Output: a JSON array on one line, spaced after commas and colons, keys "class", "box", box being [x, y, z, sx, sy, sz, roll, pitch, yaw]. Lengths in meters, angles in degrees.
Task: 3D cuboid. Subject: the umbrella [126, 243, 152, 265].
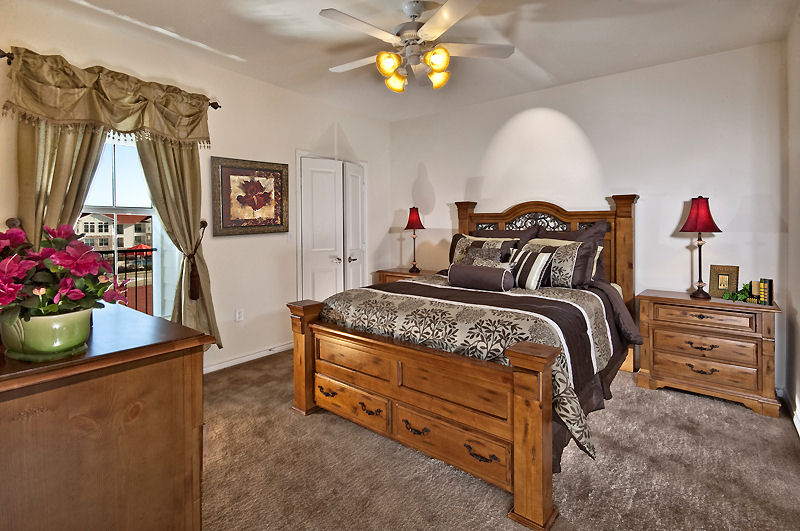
[{"class": "umbrella", "box": [-2.585, -0.112, 4.955, 0.172, 0.147, 0.171, 2, -2, 11]}]

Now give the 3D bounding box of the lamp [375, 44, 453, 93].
[{"class": "lamp", "box": [0.116, -1.751, 4.233, 0.506, 0.144, 0.528, -4, -21, 8]}]

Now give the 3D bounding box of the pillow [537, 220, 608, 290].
[{"class": "pillow", "box": [1.739, -0.077, 4.858, 0.176, 0.608, 0.595, 30, -16, -35]}]

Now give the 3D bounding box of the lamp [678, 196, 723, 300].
[{"class": "lamp", "box": [2.812, -0.178, 4.722, 0.367, 0.957, 0.425, 5, 5, 33]}]

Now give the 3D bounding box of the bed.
[{"class": "bed", "box": [0.787, 0.583, 4.716, 2.495, 2.295, 2.965, 1, 1, 41]}]

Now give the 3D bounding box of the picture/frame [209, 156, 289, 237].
[{"class": "picture/frame", "box": [-1.658, -0.749, 5.377, 0.881, 0.870, 0.067, -2, 2, -44]}]

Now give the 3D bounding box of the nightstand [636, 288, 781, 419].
[{"class": "nightstand", "box": [2.855, 0.682, 4.661, 1.149, 1.038, 0.470, 6, 29, 43]}]

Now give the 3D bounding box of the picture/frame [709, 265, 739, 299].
[{"class": "picture/frame", "box": [3.047, 0.156, 4.705, 0.207, 0.375, 0.031, 11, 40, 40]}]

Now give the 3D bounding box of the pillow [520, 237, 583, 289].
[{"class": "pillow", "box": [1.537, -0.035, 4.741, 0.468, 0.461, 0.142, 9, -12, 37]}]
